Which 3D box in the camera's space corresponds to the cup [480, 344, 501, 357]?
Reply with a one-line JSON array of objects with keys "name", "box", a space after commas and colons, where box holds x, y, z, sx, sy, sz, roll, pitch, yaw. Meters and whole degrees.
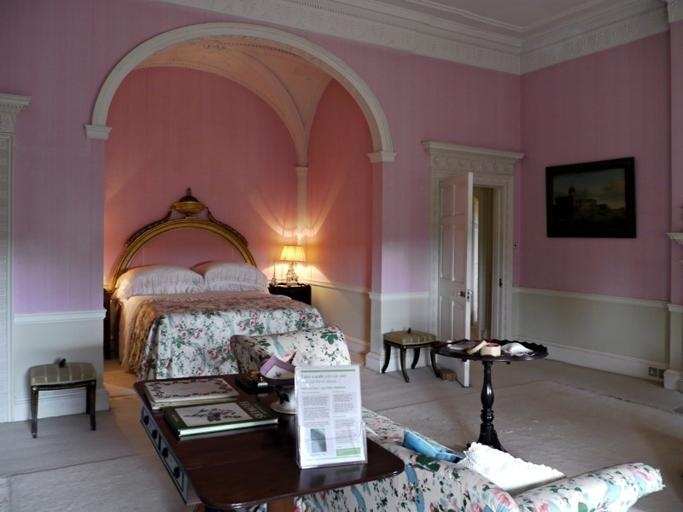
[{"name": "cup", "box": [1.173, 0.739, 3.869, 0.099, 0.063, 0.100, 0, 2, 0]}]

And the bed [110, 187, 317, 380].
[{"name": "bed", "box": [-1.702, 0.405, 6.511, 2.113, 2.202, 2.942, -1, 3, -29]}]

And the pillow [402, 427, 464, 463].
[{"name": "pillow", "box": [0.380, 0.830, 2.143, 0.150, 0.053, 0.155, 25, -3, 10]}]

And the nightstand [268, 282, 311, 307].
[{"name": "nightstand", "box": [-0.876, 0.608, 8.171, 0.641, 0.355, 0.591, 2, 5, -31]}]

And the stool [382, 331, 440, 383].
[{"name": "stool", "box": [0.942, 1.200, 6.497, 0.728, 0.672, 0.730, 4, -4, -31]}]

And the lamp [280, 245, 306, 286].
[{"name": "lamp", "box": [-0.824, 0.150, 8.298, 0.562, 0.852, 0.581, -1, 5, -15]}]
